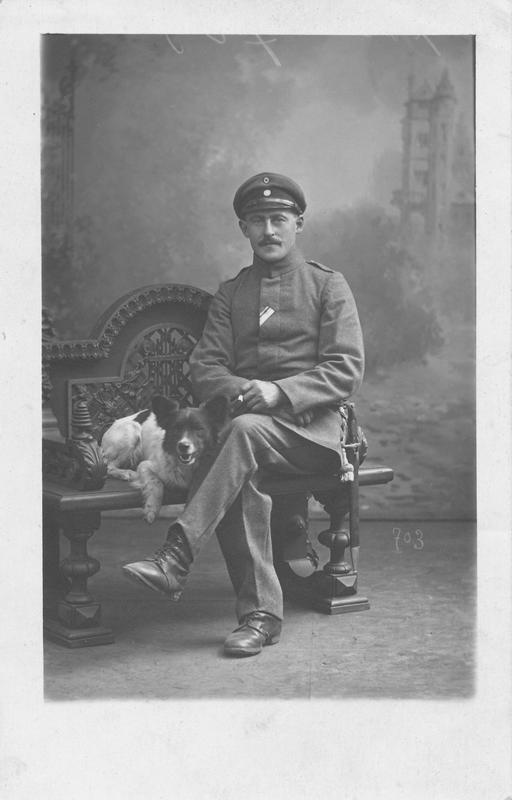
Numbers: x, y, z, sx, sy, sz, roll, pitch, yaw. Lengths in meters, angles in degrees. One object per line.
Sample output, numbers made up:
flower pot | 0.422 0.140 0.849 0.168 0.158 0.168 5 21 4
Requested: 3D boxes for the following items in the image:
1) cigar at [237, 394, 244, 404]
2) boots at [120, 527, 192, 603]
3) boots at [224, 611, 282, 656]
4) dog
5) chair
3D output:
cigar | -0.059 -0.006 4.408 0.030 0.024 0.023 4 8 28
boots | -0.339 0.569 4.031 0.147 0.255 0.354 4 -17 32
boots | -0.007 0.835 4.076 0.123 0.127 0.311 3 7 22
dog | -0.370 0.203 4.503 0.399 0.456 0.449 -4 8 -32
chair | -0.236 0.220 4.598 1.369 1.319 0.744 -2 0 -23
